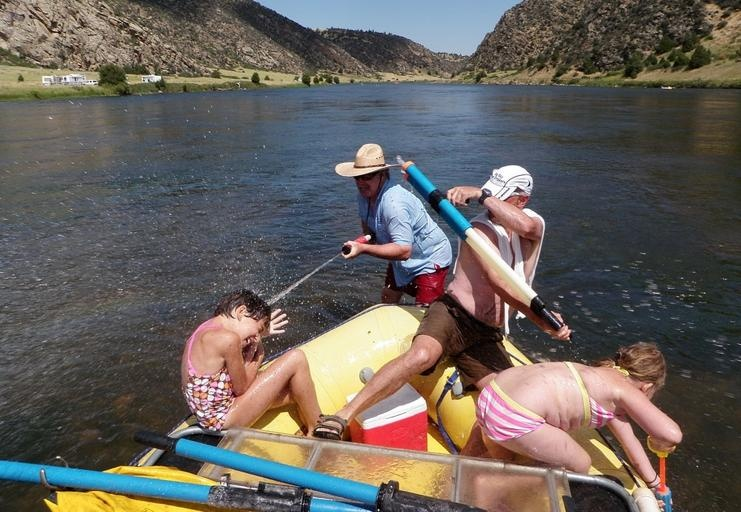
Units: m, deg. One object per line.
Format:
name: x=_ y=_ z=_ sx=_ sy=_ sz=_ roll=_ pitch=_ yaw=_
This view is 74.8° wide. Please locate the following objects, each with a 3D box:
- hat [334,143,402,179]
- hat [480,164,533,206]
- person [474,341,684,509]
hat: x=0.041 y=-1.174 z=6.013 sx=0.765 sy=0.233 sz=0.649 roll=-25 pitch=28 yaw=-33
hat: x=1.464 y=-0.774 z=5.033 sx=0.605 sy=0.230 sz=0.332 roll=-8 pitch=19 yaw=-8
person: x=1.777 y=1.480 z=4.358 sx=2.008 sy=0.935 sz=1.349 roll=-2 pitch=26 yaw=-3
